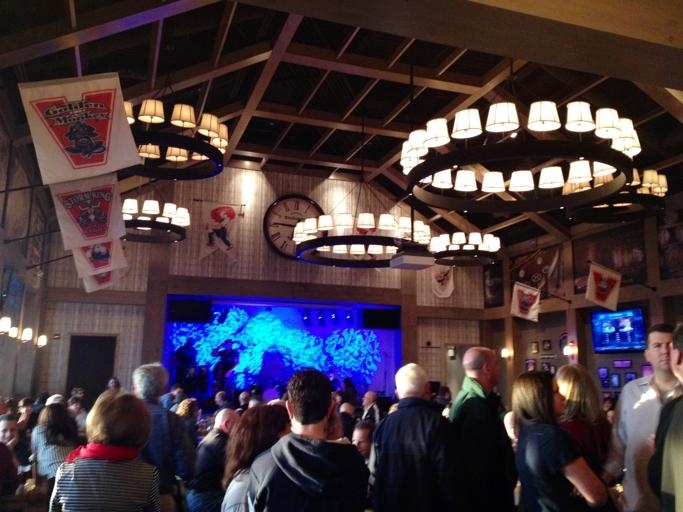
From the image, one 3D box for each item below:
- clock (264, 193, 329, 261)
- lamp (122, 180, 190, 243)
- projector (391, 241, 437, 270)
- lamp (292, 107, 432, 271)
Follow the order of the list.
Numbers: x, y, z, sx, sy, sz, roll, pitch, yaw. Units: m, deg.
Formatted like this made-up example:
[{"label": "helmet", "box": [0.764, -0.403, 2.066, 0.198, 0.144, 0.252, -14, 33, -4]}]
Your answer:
[{"label": "clock", "box": [-1.283, -0.790, 15.347, 1.834, 1.832, 0.157, 0, -5, 22]}, {"label": "lamp", "box": [-4.184, -1.004, 12.507, 1.127, 1.075, 1.104, 19, -27, -39]}, {"label": "projector", "box": [1.235, -0.036, 9.839, 0.728, 0.516, 0.428, -4, -10, 16]}, {"label": "lamp", "box": [0.621, -0.701, 11.084, 2.142, 1.439, 2.193, -10, -18, 44]}]
